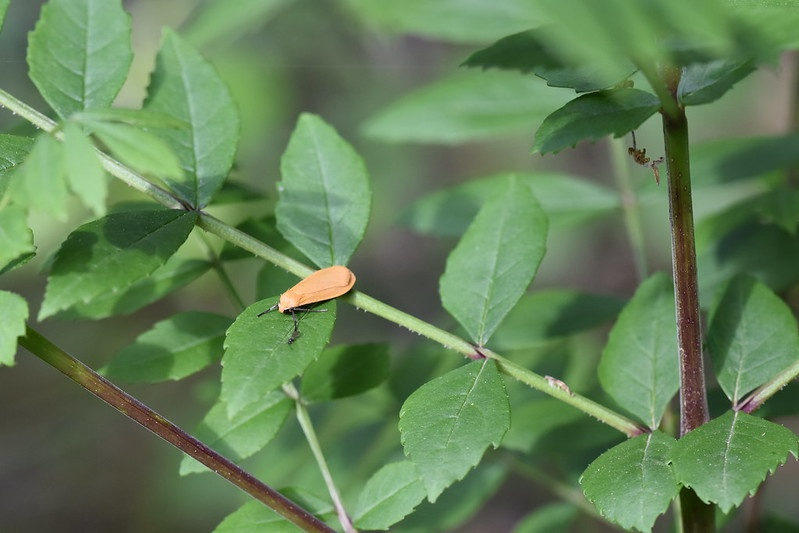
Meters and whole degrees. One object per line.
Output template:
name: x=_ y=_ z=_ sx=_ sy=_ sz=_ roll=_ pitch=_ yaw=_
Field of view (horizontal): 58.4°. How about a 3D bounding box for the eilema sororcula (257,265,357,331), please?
eilema sororcula: x=-0.107 y=0.026 z=0.837 sx=0.100 sy=0.023 sz=0.061 roll=-28 pitch=47 yaw=-27
